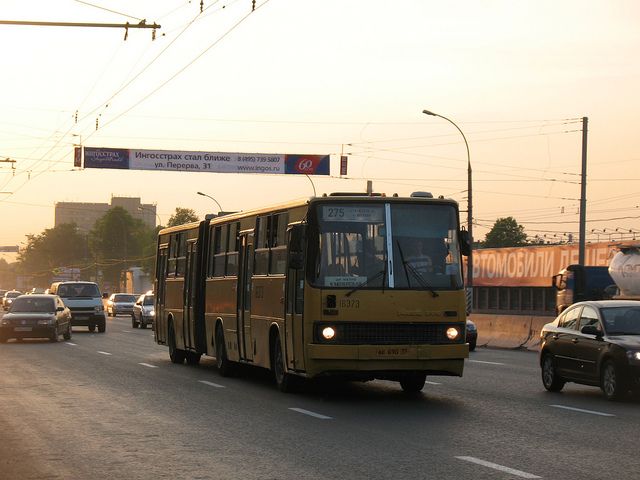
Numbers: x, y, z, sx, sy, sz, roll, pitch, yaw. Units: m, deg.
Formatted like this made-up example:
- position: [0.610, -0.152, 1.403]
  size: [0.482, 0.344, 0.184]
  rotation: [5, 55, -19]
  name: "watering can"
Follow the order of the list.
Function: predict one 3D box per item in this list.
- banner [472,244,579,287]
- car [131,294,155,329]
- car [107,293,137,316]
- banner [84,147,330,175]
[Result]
- position: [15.908, 1.955, 57.265]
  size: [0.692, 3.166, 12.197]
  rotation: [0, -3, -21]
  name: "banner"
- position: [-10.636, 4.184, 43.557]
  size: [1.061, 1.961, 2.695]
  rotation: [0, -3, -20]
  name: "car"
- position: [-18.101, 5.618, 65.899]
  size: [2.240, 1.723, 4.845]
  rotation: [1, -7, -17]
  name: "car"
- position: [-7.144, -5.117, 45.936]
  size: [14.824, 1.444, 1.020]
  rotation: [0, -2, -9]
  name: "banner"
